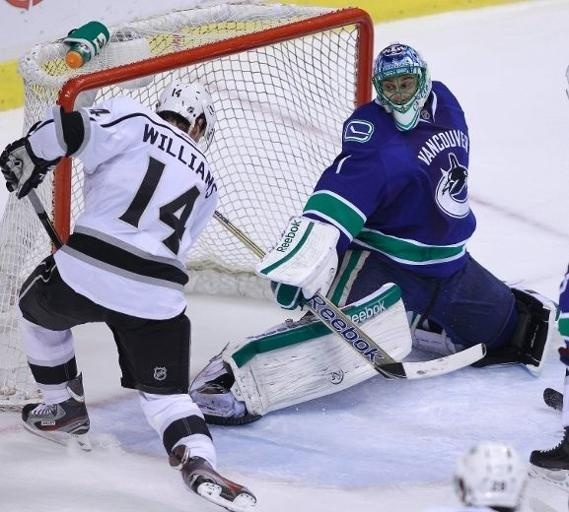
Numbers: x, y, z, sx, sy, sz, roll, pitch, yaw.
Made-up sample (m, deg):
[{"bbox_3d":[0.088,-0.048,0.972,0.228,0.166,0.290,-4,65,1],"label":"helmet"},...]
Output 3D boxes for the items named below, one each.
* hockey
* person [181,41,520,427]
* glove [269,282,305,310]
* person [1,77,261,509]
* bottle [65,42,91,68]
[{"bbox_3d":[0.248,0.152,2.401,0.825,0.036,0.265,37,41,6],"label":"hockey"},{"bbox_3d":[0.203,-0.054,2.588,1.621,1.171,0.735,-12,25,-27],"label":"person"},{"bbox_3d":[-0.002,0.112,2.193,0.081,0.089,0.098,-27,64,-17],"label":"glove"},{"bbox_3d":[-0.411,0.084,1.942,0.887,1.008,0.477,12,17,21],"label":"person"},{"bbox_3d":[-0.721,-0.690,2.429,0.081,0.084,0.081,2,16,-15],"label":"bottle"}]
